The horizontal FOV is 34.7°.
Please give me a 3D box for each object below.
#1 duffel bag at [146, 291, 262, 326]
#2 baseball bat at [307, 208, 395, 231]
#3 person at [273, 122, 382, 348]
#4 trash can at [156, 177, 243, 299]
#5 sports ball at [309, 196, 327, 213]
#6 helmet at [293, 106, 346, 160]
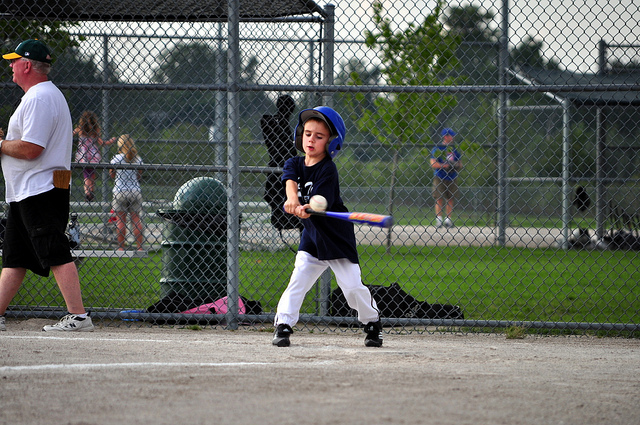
[{"bbox_3d":[-1.286,1.093,11.708,0.675,0.225,0.926,-26,-4,19],"label":"duffel bag"},{"bbox_3d":[0.317,0.082,10.722,1.081,0.145,0.188,9,-34,24],"label":"baseball bat"},{"bbox_3d":[0.037,0.225,10.383,0.953,2.266,0.850,-2,4,-41],"label":"person"},{"bbox_3d":[-1.445,0.293,11.606,0.766,1.371,0.411,1,3,-8],"label":"trash can"},{"bbox_3d":[-0.018,-0.071,10.048,0.123,0.127,0.124,5,-16,1],"label":"sports ball"},{"bbox_3d":[0.032,-0.811,10.462,0.527,0.499,0.601,13,4,5],"label":"helmet"}]
